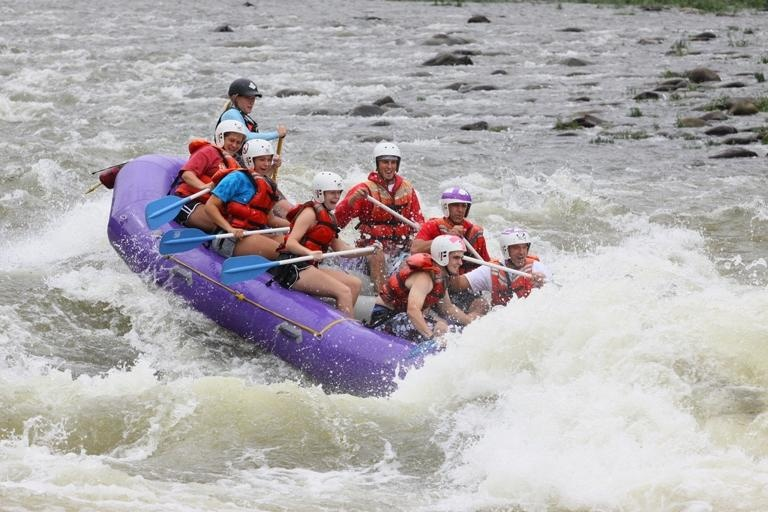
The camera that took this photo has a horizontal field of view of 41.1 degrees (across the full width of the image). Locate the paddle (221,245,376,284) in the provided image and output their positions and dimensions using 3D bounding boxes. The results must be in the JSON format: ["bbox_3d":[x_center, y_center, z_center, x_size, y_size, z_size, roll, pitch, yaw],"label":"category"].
[{"bbox_3d":[-1.486,0.195,15.815,2.004,0.574,0.500,-3,22,-9],"label":"paddle"}]

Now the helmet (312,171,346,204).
[{"bbox_3d":[-0.909,-1.098,16.078,0.595,0.405,0.414,6,9,24],"label":"helmet"}]

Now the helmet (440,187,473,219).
[{"bbox_3d":[1.146,-0.902,16.559,0.469,0.361,0.537,4,2,-21],"label":"helmet"}]

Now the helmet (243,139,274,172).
[{"bbox_3d":[-2.013,-1.706,16.535,0.440,0.386,0.549,-8,30,-28],"label":"helmet"}]

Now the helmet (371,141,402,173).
[{"bbox_3d":[0.076,-1.702,17.103,0.443,0.373,0.524,1,6,-10],"label":"helmet"}]

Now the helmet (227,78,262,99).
[{"bbox_3d":[-2.502,-2.916,17.960,0.574,0.252,0.381,3,12,19],"label":"helmet"}]

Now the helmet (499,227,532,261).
[{"bbox_3d":[2.056,-0.236,16.117,0.440,0.364,0.522,-3,9,-24],"label":"helmet"}]

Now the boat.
[{"bbox_3d":[-1.851,-0.031,15.989,5.852,1.027,2.648,28,15,14],"label":"boat"}]
